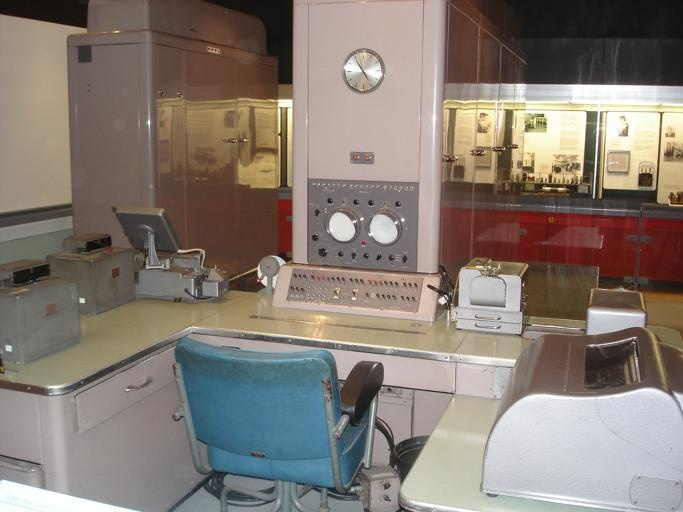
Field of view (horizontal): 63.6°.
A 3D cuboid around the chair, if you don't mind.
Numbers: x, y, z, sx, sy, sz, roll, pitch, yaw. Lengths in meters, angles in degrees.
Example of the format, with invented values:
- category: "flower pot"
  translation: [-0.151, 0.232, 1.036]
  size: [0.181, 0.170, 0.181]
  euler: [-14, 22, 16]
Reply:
- category: "chair"
  translation: [-0.201, 0.603, 2.291]
  size: [0.565, 0.814, 0.721]
  euler: [2, 11, 13]

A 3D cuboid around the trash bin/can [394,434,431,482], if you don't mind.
- category: "trash bin/can"
  translation: [0.381, 1.037, 2.898]
  size: [0.236, 0.157, 0.139]
  euler: [-5, 11, -29]

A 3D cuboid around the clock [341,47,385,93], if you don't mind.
- category: "clock"
  translation: [0.124, -0.987, 2.907]
  size: [0.212, 0.240, 0.037]
  euler: [5, 15, 21]
